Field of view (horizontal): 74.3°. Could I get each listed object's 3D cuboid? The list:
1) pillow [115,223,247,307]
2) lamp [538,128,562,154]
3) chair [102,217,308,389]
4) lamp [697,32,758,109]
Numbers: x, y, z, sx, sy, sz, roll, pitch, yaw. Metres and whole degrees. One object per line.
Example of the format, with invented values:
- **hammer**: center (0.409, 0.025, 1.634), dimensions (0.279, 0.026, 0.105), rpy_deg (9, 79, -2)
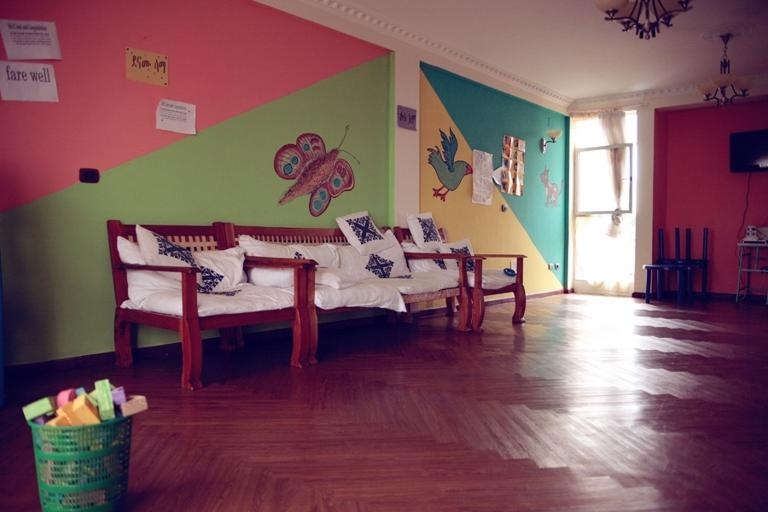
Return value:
- **pillow**: center (-1.700, 0.114, 4.307), dimensions (0.800, 0.700, 0.295), rpy_deg (5, -22, -39)
- **lamp**: center (2.810, -1.894, 8.456), dimensions (0.305, 0.373, 0.606), rpy_deg (7, 14, 30)
- **chair**: center (-1.144, 0.272, 4.431), dimensions (1.035, 0.934, 1.026), rpy_deg (11, -3, -11)
- **lamp**: center (4.733, -2.572, 6.973), dimensions (0.571, 1.015, 0.608), rpy_deg (0, -1, 26)
